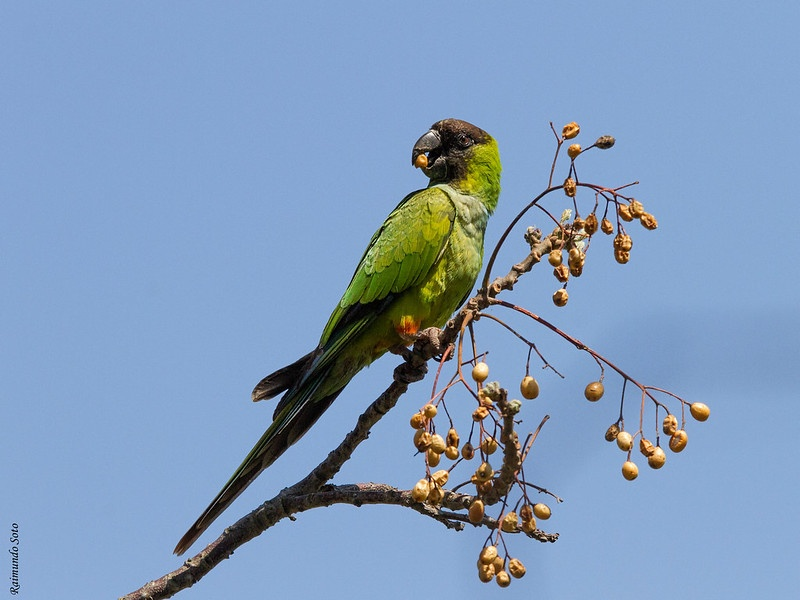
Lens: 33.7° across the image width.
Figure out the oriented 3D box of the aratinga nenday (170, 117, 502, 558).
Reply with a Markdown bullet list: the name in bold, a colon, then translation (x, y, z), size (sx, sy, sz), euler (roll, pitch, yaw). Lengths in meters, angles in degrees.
- **aratinga nenday**: translation (-0.337, 0.190, 8.032), size (1.959, 2.416, 0.661), euler (-7, -18, 14)
